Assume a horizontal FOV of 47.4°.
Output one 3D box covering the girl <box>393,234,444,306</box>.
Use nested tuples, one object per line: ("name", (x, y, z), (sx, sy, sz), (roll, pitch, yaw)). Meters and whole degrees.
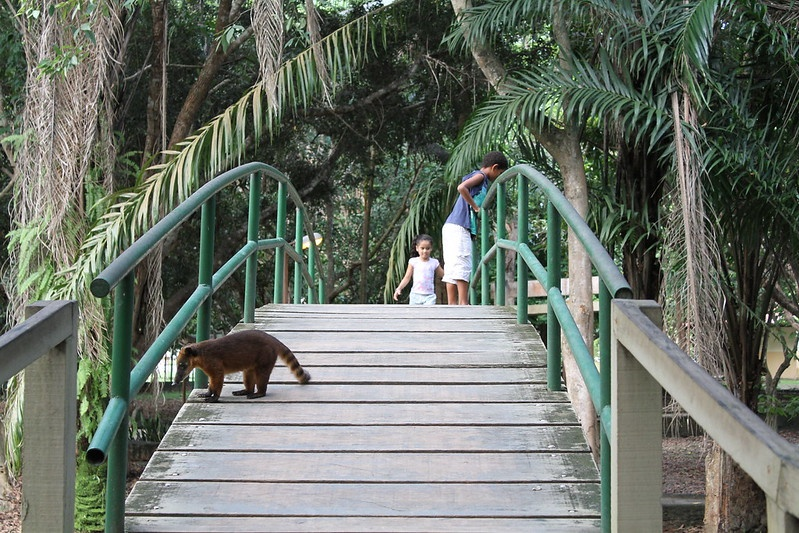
("girl", (0.310, 0.282, 12.290), (0.719, 1.405, 0.360), (5, 14, 3))

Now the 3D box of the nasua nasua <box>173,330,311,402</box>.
("nasua nasua", (-1.204, 0.765, 7.227), (1.173, 0.593, 0.359), (0, 9, -25))

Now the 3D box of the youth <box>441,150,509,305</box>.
("youth", (0.846, -0.433, 10.902), (0.699, 1.937, 0.597), (0, 0, -1))
